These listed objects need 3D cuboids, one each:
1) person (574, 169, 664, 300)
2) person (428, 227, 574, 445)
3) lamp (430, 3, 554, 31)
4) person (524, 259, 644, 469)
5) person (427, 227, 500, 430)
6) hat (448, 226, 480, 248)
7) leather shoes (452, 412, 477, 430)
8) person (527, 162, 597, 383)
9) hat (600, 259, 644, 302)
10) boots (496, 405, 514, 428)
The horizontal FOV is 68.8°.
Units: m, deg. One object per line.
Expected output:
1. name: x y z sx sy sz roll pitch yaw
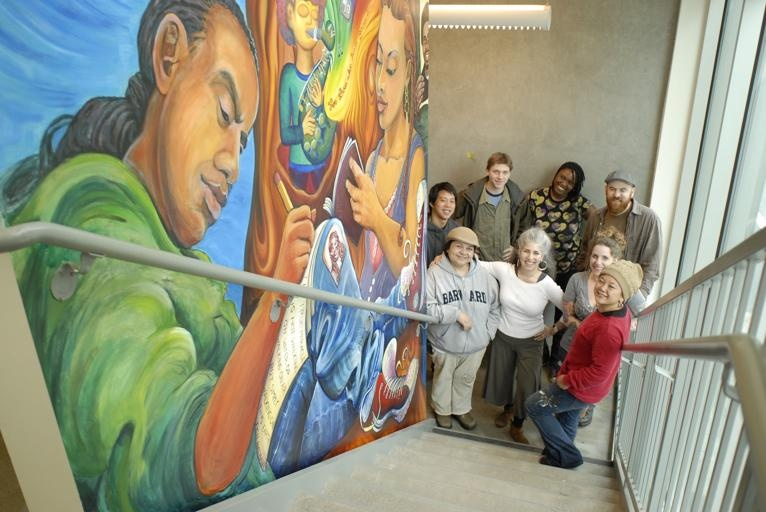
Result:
1. person: 2.280 -0.134 5.441 0.621 1.407 0.822 -11 17 -40
2. person: 1.142 0.703 4.825 1.220 1.919 0.650 14 24 33
3. lamp: 1.043 -2.364 5.464 1.155 0.254 0.151 10 -1 3
4. person: 1.366 0.753 3.735 0.532 1.290 0.665 9 -1 -42
5. person: 0.618 0.639 4.758 0.805 1.666 0.406 9 -2 -39
6. hat: 0.665 -0.171 4.621 0.250 0.166 0.238 10 -2 -12
7. leather shoes: 0.747 1.493 5.029 0.088 0.106 0.247 0 -5 -22
8. person: 1.951 0.129 6.075 0.933 2.290 0.582 3 8 28
9. hat: 1.527 0.163 3.589 0.216 0.253 0.260 43 23 28
10. boots: 1.112 1.452 5.110 0.103 0.238 0.232 6 11 23
